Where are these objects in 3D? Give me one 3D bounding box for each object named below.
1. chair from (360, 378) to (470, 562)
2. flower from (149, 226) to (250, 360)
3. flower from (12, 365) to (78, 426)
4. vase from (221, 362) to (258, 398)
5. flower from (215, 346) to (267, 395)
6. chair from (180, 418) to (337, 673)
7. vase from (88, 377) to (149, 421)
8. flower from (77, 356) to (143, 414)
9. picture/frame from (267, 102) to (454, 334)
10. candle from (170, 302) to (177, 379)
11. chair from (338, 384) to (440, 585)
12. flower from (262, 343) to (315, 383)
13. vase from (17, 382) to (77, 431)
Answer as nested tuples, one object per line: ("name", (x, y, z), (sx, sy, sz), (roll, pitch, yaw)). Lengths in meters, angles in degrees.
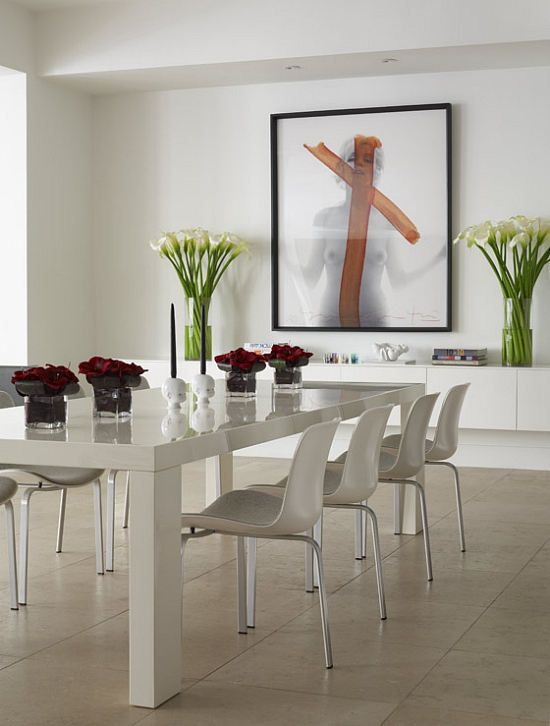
("chair", (0.580, 0.462, 3.012), (0.420, 0.792, 0.436), (-4, 7, 26))
("flower", (-0.644, -0.576, 5.847), (0.680, 1.071, 0.689), (2, 2, 35))
("flower", (-0.564, 0.067, 1.648), (0.122, 0.152, 0.122), (-5, 22, -36))
("vase", (-0.134, 0.056, 2.583), (0.102, 0.135, 0.102), (-2, 3, -41))
("flower", (-0.129, 0.026, 2.635), (0.147, 0.187, 0.163), (0, 0, 30))
("chair", (-0.040, 0.456, 1.779), (0.345, 0.654, 0.365), (1, 3, 15))
("vase", (-0.424, 0.090, 1.834), (0.108, 0.123, 0.093), (2, 1, 29))
("flower", (-0.435, 0.085, 1.814), (0.142, 0.177, 0.173), (-4, -24, 5))
("picture/frame", (0.755, -1.218, 5.587), (1.441, 2.267, 0.072), (0, 0, 15))
("candle", (-0.320, -0.069, 2.158), (0.017, 0.232, 0.090), (-2, 3, -13))
("chair", (0.452, 0.439, 2.630), (0.414, 0.723, 0.394), (-15, 15, -43))
("flower", (0.045, 0.002, 2.932), (0.141, 0.183, 0.156), (-1, 0, 30))
("vase", (-0.553, 0.098, 1.656), (0.099, 0.113, 0.100), (-1, -4, 13))
